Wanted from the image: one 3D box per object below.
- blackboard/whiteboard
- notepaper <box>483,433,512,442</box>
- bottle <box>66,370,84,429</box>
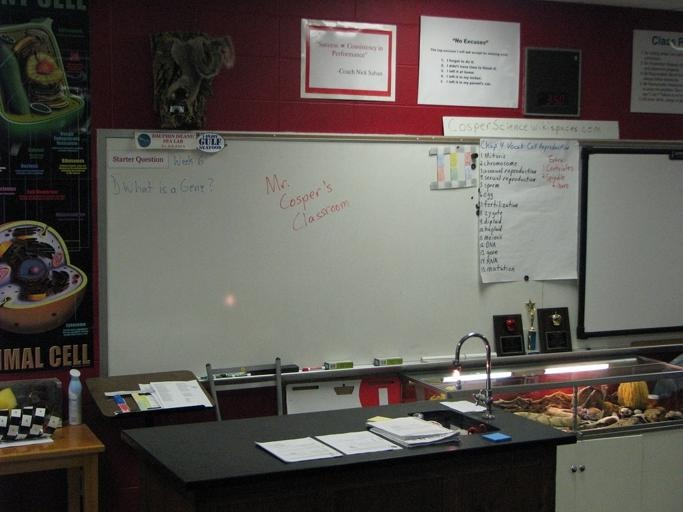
[{"bbox_3d":[-0.227,-0.029,3.828,2.503,1.519,0.049,1,3,-14],"label":"blackboard/whiteboard"},{"bbox_3d":[0.693,0.807,2.656,0.124,0.013,0.103,0,4,-18],"label":"notepaper"},{"bbox_3d":[-1.552,0.816,3.464,0.091,0.323,0.082,1,3,-3],"label":"bottle"}]
